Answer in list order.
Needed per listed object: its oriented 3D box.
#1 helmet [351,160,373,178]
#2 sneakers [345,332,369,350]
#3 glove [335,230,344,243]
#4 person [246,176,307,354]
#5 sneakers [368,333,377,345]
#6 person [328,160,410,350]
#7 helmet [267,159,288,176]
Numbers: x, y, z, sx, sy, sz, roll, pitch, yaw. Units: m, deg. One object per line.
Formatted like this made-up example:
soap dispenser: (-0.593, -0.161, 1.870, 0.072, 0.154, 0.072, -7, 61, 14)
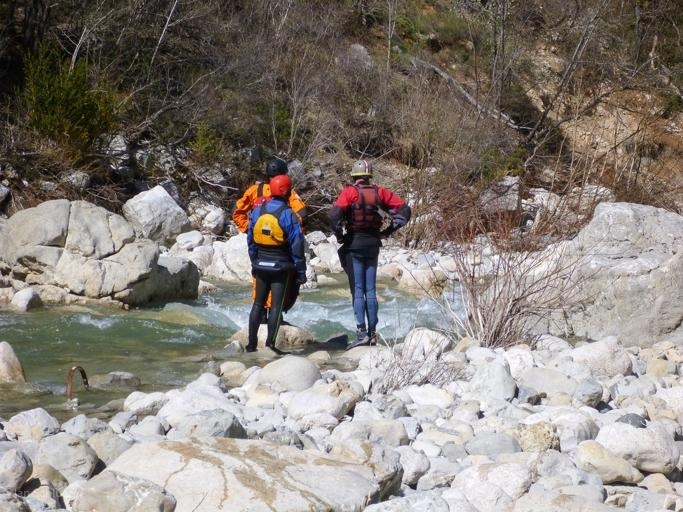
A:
helmet: (0.354, -1.305, 12.803, 0.270, 0.229, 0.282, 1, 13, -1)
sneakers: (0.307, 1.218, 12.457, 0.153, 0.194, 0.449, 15, -24, -29)
glove: (0.024, -0.300, 12.623, 0.116, 0.210, 0.301, 2, 8, 2)
person: (-0.892, 0.087, 12.043, 0.847, 2.461, 0.590, 1, 9, -3)
sneakers: (0.520, 1.204, 12.524, 0.070, 0.134, 0.205, 0, -14, 3)
person: (0.434, -0.094, 12.691, 1.197, 2.637, 0.798, -4, 10, -29)
helmet: (-0.940, -1.297, 12.475, 0.250, 0.291, 0.310, 6, 20, 6)
